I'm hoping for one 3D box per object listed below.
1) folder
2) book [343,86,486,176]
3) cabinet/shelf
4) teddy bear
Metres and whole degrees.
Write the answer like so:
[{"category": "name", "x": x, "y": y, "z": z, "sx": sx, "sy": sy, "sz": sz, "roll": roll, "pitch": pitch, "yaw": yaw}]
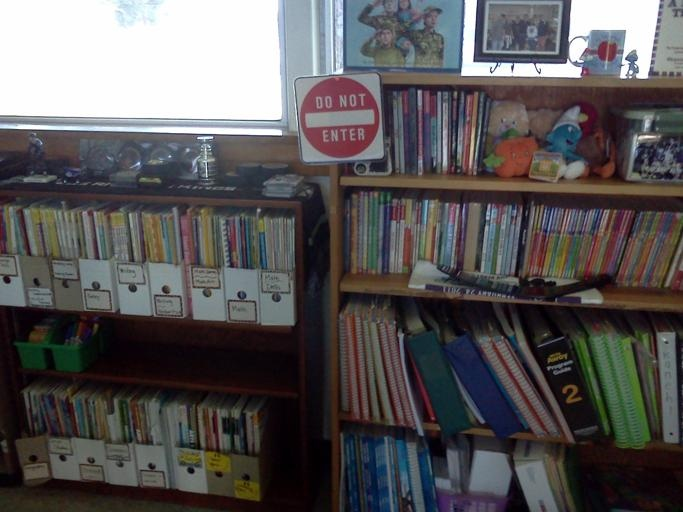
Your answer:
[{"category": "folder", "x": 0.487, "y": 0.459, "z": 2.330, "sx": 0.482, "sy": 0.462, "sz": 0.259, "roll": 0, "pitch": 15, "yaw": 6}, {"category": "book", "x": 0.341, "y": -0.415, "z": 2.440, "sx": 0.649, "sy": 0.403, "sz": 0.316, "roll": 1, "pitch": 60, "yaw": 5}, {"category": "cabinet/shelf", "x": -0.176, "y": 0.192, "z": 2.539, "sx": 2.745, "sy": 1.855, "sz": 0.564, "roll": 1, "pitch": 16, "yaw": 11}, {"category": "teddy bear", "x": 0.815, "y": -0.453, "z": 2.250, "sx": 0.500, "sy": 0.289, "sz": 0.327, "roll": 2, "pitch": 16, "yaw": 12}]
